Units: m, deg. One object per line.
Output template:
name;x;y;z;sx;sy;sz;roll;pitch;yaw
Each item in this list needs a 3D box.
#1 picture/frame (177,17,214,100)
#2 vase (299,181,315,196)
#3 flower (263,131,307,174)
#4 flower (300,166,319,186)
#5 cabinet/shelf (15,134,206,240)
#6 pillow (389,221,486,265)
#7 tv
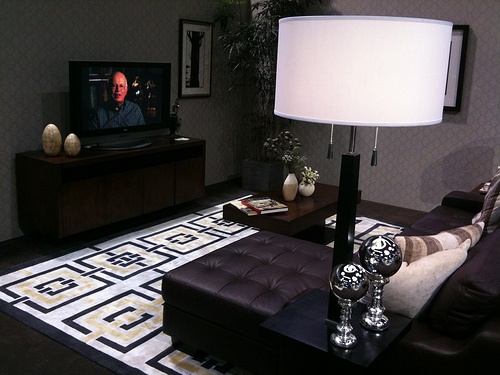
picture/frame;-0.765;-1.847;5.370;0.518;0.955;0.047;11;17;20
vase;0.601;0.016;3.987;0.130;0.118;0.130;-3;8;-34
flower;0.463;-0.483;5.089;0.535;0.664;0.461;-12;19;-41
flower;0.613;-0.119;4.033;0.208;0.161;0.207;5;14;26
cabinet/shelf;-1.490;-0.063;4.567;0.584;0.876;2.206;9;14;29
pillow;1.024;0.297;2.032;0.718;0.206;0.166;-7;11;-32
tv;-1.466;-0.908;4.162;0.102;0.715;1.032;15;20;35
